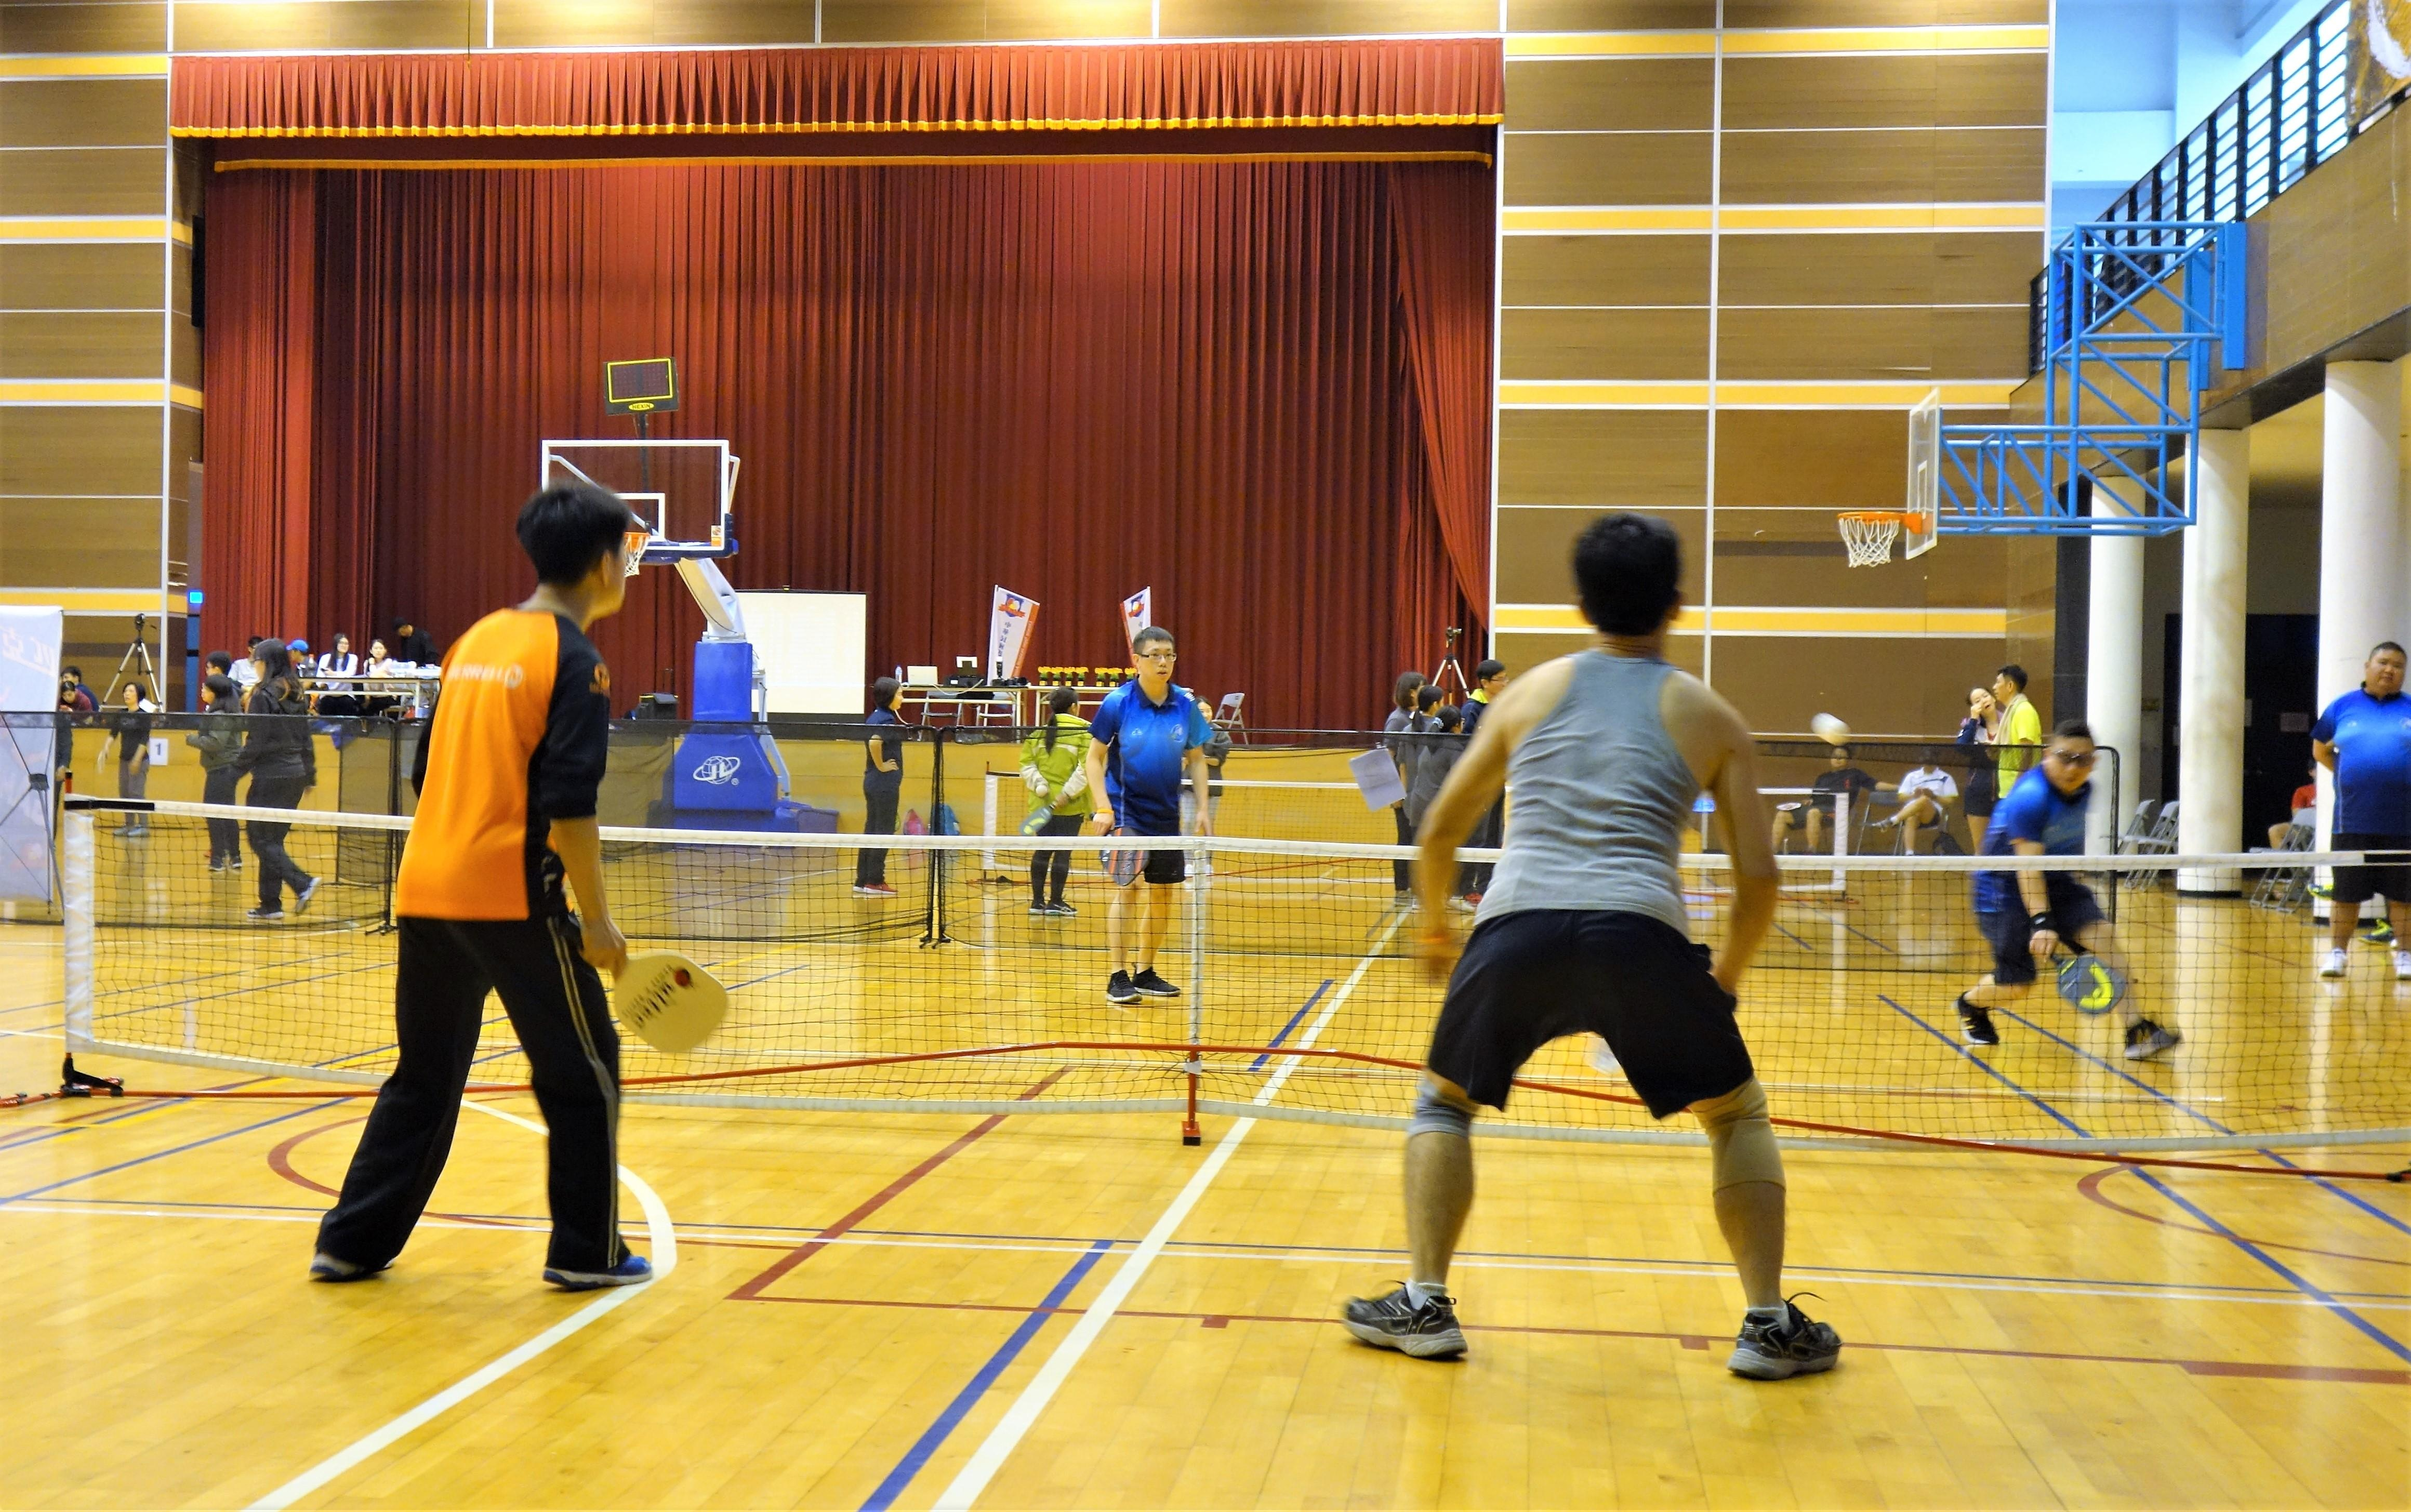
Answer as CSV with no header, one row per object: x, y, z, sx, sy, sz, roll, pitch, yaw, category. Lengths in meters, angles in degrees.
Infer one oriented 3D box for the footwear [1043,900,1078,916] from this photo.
-1.228,1.249,20.523,0.278,0.114,0.101,2,9,-8,footwear

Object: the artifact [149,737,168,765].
-9.046,-0.083,20.748,0.241,0.226,0.063,3,6,21,artifact

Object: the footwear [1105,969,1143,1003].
-0.603,1.683,17.890,0.138,0.182,0.371,2,-6,-28,footwear

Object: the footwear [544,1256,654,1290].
-3.368,2.813,13.326,0.539,0.228,0.227,-5,5,-26,footwear

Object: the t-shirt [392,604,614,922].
-3.839,0.025,13.140,1.133,1.680,0.235,-1,2,7,t-shirt

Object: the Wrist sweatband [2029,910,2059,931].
5.752,1.086,16.455,0.195,0.129,0.169,0,2,32,Wrist sweatband

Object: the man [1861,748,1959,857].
5.959,0.329,20.088,0.563,1.086,0.622,-4,-41,40,man

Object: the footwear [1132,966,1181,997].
-0.375,1.656,17.998,0.427,0.199,0.170,1,1,1,footwear

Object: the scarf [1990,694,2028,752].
7.126,-0.329,21.177,0.303,0.436,0.518,1,4,-2,scarf

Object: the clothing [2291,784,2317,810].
11.522,0.376,25.077,0.179,0.131,0.403,24,39,17,clothing

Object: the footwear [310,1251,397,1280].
-4.815,2.825,13.382,0.251,0.107,0.201,15,-12,8,footwear

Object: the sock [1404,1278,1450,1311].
1.186,2.834,12.868,0.186,0.125,0.161,-2,-1,-2,sock

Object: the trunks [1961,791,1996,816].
6.476,0.340,20.045,0.232,0.176,0.224,1,0,-44,trunks

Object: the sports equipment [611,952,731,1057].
-2.966,1.322,13.485,0.653,0.467,0.221,37,2,-7,sports equipment

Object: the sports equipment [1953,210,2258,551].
9.606,-3.943,25.147,3.017,4.142,4.344,1,-2,8,sports equipment

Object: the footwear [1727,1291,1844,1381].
3.189,3.101,12.947,0.702,0.344,0.280,-2,1,-39,footwear

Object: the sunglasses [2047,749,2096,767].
5.940,-0.023,16.347,0.329,0.106,0.157,-2,2,-10,sunglasses

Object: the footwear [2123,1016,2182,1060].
6.490,1.910,16.417,0.278,0.127,0.380,-18,7,-6,footwear

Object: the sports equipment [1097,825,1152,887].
-0.577,0.755,17.750,0.396,0.566,0.196,6,1,4,sports equipment

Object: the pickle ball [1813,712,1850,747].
6.432,-0.328,24.626,0.320,0.156,0.317,30,5,-3,pickle ball

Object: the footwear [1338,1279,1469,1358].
1.099,3.023,13.015,0.726,0.405,0.296,11,-22,21,footwear

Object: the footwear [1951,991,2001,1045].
5.489,1.863,17.131,0.257,0.462,0.201,-18,10,-26,footwear
